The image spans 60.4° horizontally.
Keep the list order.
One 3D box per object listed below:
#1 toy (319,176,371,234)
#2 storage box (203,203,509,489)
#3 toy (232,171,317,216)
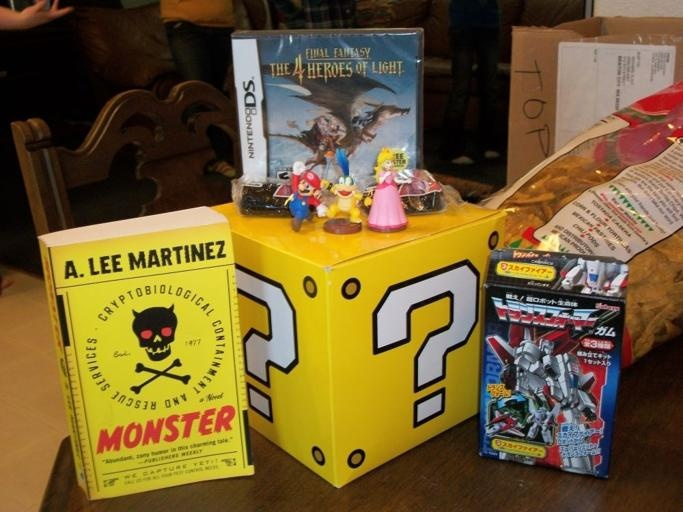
[{"bbox_3d":[0.003,-0.068,0.821,0.064,0.064,0.044,10,34,15],"label":"toy"},{"bbox_3d":[0.018,0.057,0.898,0.337,0.361,0.347,11,15,24],"label":"storage box"},{"bbox_3d":[-0.098,-0.088,0.851,0.105,0.039,0.061,1,54,8],"label":"toy"}]
